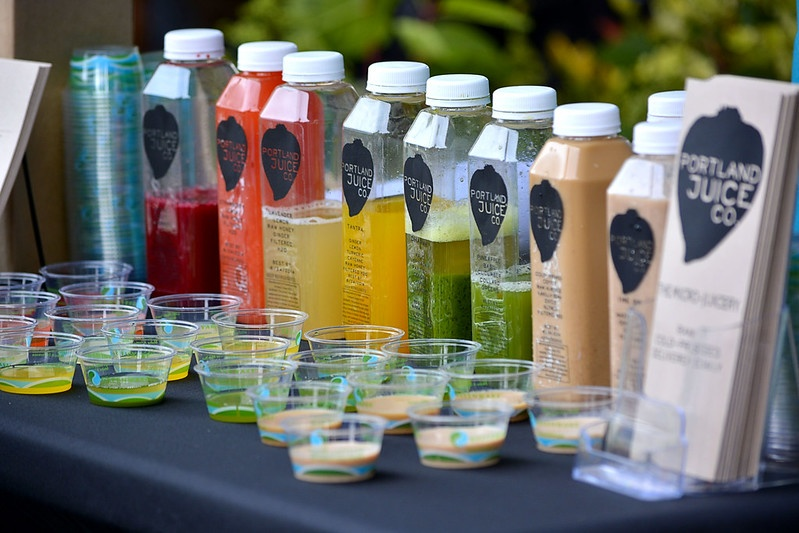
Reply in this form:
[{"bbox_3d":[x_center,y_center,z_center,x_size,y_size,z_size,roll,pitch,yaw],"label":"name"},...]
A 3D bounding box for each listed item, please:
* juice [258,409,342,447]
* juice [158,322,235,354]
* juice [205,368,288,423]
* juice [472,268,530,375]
[{"bbox_3d":[-0.140,0.206,1.137,0.083,0.027,0.082,-1,2,-5],"label":"juice"},{"bbox_3d":[-0.341,0.106,1.362,0.066,0.028,0.076,7,-5,-33],"label":"juice"},{"bbox_3d":[-0.226,0.177,1.236,0.098,0.050,0.097,1,4,4],"label":"juice"},{"bbox_3d":[0.160,0.062,1.348,0.113,0.160,0.109,2,7,2],"label":"juice"}]
